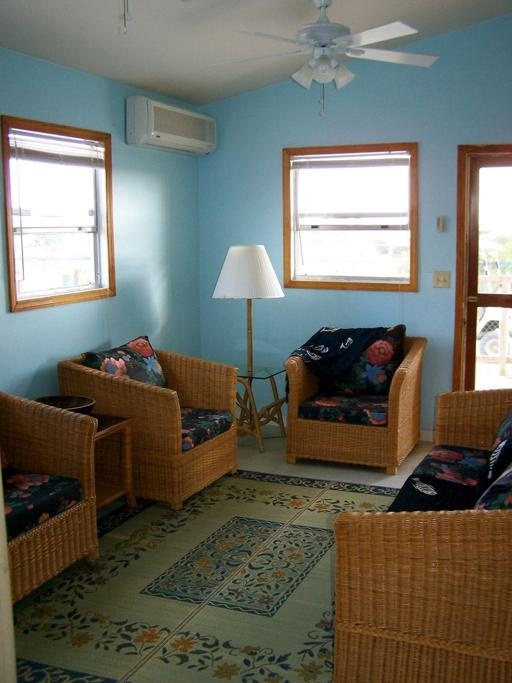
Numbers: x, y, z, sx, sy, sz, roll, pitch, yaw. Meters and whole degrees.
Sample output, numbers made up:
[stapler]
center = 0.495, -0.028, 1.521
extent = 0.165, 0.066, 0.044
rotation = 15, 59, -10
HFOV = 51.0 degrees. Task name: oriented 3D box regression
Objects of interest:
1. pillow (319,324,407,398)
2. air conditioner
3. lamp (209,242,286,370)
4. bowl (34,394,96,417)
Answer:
[pillow]
center = 0.814, 0.167, 3.802
extent = 0.514, 0.486, 0.155
rotation = 0, -15, 24
[air conditioner]
center = -0.615, -1.587, 4.022
extent = 0.202, 0.316, 0.910
rotation = 17, 19, 23
[lamp]
center = -0.076, -0.239, 4.081
extent = 0.502, 0.968, 0.611
rotation = -1, 5, -4
[bowl]
center = -1.040, 0.327, 2.854
extent = 0.190, 0.059, 0.189
rotation = 3, 2, 0
